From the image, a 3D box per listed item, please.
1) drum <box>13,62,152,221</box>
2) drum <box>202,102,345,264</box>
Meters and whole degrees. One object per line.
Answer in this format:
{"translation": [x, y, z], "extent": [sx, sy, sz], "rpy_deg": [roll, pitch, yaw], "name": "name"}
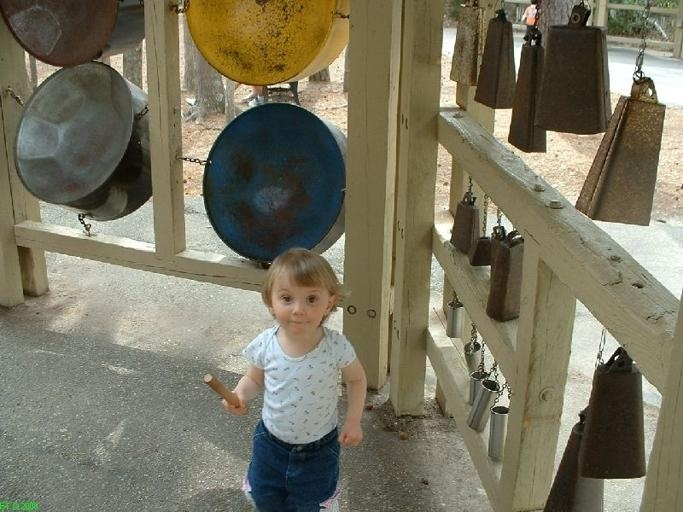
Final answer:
{"translation": [-1.204, -0.526, 2.917], "extent": [0.691, 0.731, 0.412], "rpy_deg": [9, 21, 19], "name": "drum"}
{"translation": [-0.289, -0.319, 2.750], "extent": [0.634, 0.691, 0.224], "rpy_deg": [7, 20, 13], "name": "drum"}
